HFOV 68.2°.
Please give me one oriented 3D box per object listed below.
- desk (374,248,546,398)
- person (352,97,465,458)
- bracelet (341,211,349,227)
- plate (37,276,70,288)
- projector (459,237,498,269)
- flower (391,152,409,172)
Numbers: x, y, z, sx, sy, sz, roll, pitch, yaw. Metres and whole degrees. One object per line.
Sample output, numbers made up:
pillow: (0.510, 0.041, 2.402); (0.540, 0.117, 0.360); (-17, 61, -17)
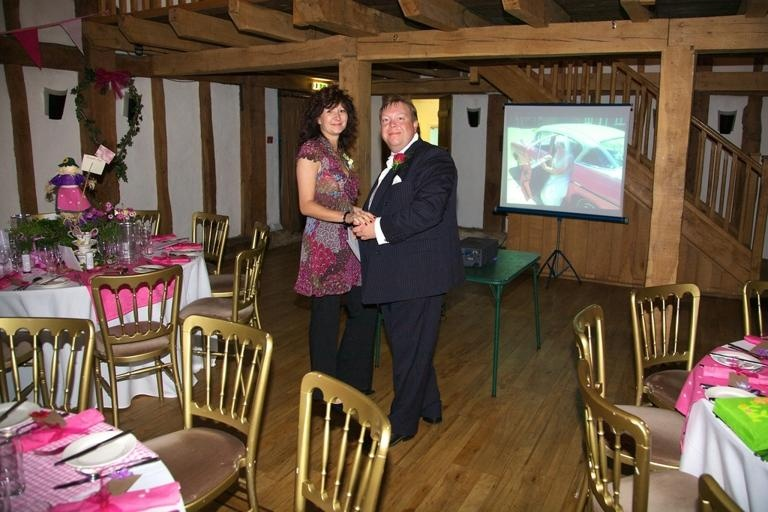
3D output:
desk: (0.850, 0.487, 5.205); (1.230, 1.198, 1.047); (13, 27, 42)
person: (0.164, 0.101, 3.785); (0.688, 2.264, 0.372); (0, 10, 6)
bracelet: (-0.262, -0.249, 3.846); (0.052, 0.101, 0.156); (-2, 11, -4)
plate: (-2.276, 0.175, 3.919); (0.208, 0.040, 0.201); (-6, 12, -24)
projector: (0.807, -0.062, 4.849); (0.242, 0.163, 0.348); (8, 18, 31)
flower: (0.100, -0.618, 3.720); (0.090, 0.109, 0.066); (-1, 10, 1)
